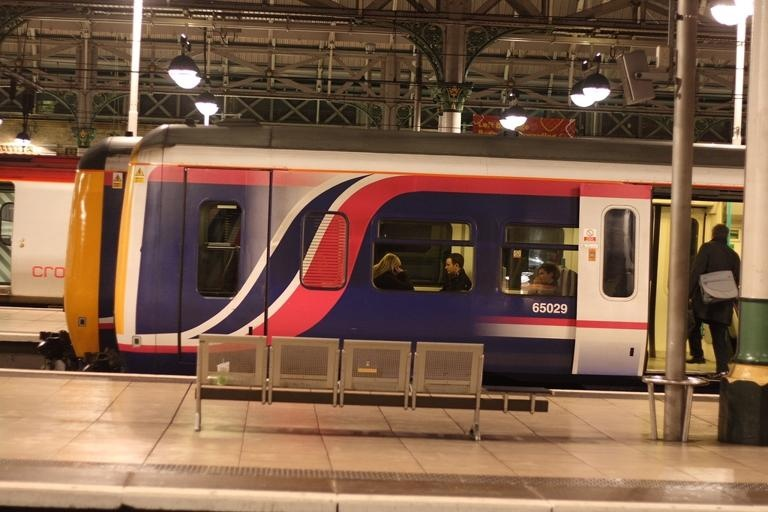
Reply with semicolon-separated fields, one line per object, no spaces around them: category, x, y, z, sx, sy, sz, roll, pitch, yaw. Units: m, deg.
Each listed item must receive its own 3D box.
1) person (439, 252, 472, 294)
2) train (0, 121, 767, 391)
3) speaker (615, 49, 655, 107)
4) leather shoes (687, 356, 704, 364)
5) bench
person;1.335;0.298;19.333;0.515;0.688;0.762;-6;11;-8
train;-2.162;-0.249;22.064;19.771;6.046;4.362;2;0;0
speaker;4.223;-3.032;17.811;0.560;0.903;0.572;1;2;12
leather shoes;5.934;1.981;20.267;0.339;0.157;0.111;3;2;2
bench;-0.718;2.092;17.378;4.498;1.498;1.233;3;1;-3
